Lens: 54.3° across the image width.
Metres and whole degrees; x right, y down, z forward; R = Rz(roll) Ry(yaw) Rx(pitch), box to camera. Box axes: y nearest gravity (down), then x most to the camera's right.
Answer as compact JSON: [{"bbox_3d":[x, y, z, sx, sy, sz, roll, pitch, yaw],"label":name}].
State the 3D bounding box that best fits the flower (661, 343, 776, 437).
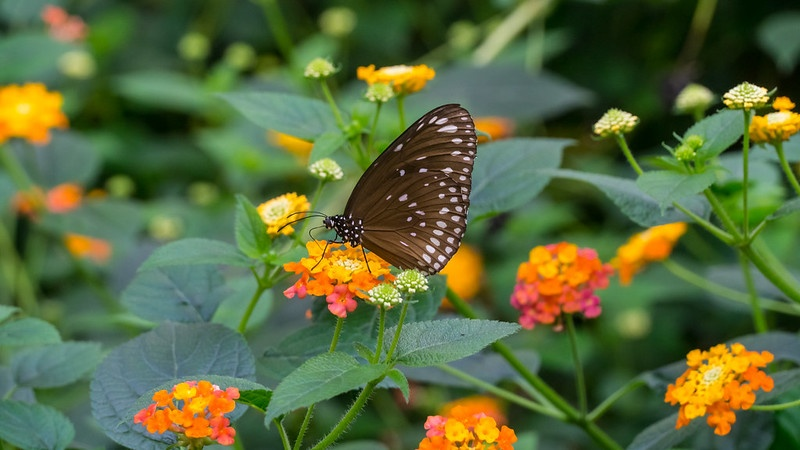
[{"bbox_3d":[1.290,0.656,3.144,0.428,0.303,0.247,-24,34,-22],"label":"flower"}]
